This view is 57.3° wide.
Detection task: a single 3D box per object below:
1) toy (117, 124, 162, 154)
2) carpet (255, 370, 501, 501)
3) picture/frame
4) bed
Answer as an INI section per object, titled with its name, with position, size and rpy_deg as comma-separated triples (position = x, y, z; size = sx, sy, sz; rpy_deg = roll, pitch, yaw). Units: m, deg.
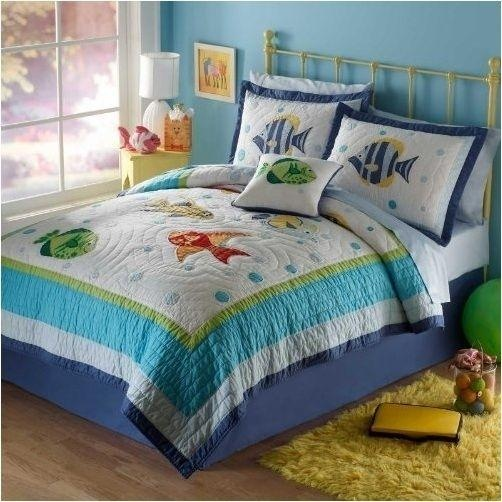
[toy]
position = -0.767, -0.770, 3.175
size = 0.309, 0.149, 0.192
rpy_deg = 12, 13, 30
[carpet]
position = 0.554, 0.628, 1.556
size = 0.604, 0.030, 0.885
rpy_deg = 7, 11, 41
[picture/frame]
position = -0.239, -1.283, 3.279
size = 0.511, 0.463, 0.039
rpy_deg = 12, 22, 38
[bed]
position = 0.015, 0.087, 1.737
size = 1.294, 0.715, 1.075
rpy_deg = -18, 31, -37
